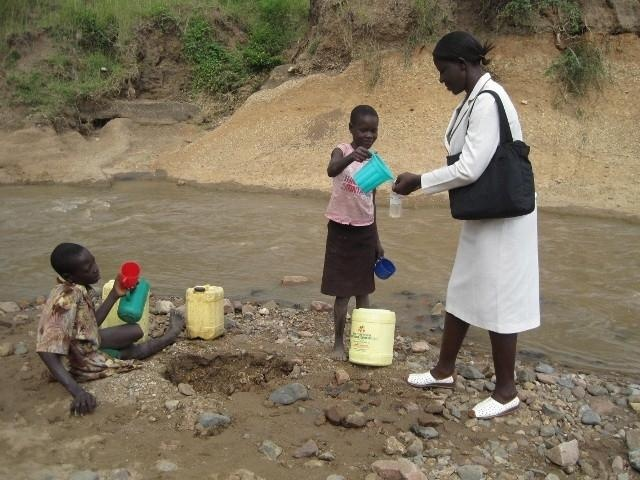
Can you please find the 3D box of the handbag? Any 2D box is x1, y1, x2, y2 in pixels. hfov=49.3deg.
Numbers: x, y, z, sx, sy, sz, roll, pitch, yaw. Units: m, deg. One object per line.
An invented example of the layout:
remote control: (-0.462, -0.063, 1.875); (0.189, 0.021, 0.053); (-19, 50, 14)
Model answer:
handbag: (1.438, -0.695, 5.834); (0.708, 1.114, 0.281); (3, 12, 14)

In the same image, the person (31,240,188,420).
person: (-2.012, 0.640, 6.476); (1.152, 1.178, 1.736); (6, 12, 35)

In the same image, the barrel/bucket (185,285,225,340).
barrel/bucket: (-1.172, 0.734, 7.025); (0.454, 0.442, 0.410); (-1, 1, -20)

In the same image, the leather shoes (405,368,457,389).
leather shoes: (1.008, 1.276, 6.372); (0.433, 0.123, 0.156); (2, -5, -2)

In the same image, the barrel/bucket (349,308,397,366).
barrel/bucket: (0.492, 0.930, 6.677); (0.495, 0.479, 0.461); (5, -5, 0)

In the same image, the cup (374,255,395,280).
cup: (0.630, 0.273, 6.921); (0.156, 0.224, 0.191); (-37, -7, 28)

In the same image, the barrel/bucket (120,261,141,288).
barrel/bucket: (-1.756, 0.304, 6.423); (0.179, 0.245, 0.241); (3, -23, -18)

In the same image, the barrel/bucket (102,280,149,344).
barrel/bucket: (-1.818, 0.681, 6.502); (0.353, 0.309, 0.593); (0, 13, -5)

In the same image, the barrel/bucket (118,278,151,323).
barrel/bucket: (-1.749, 0.568, 6.505); (0.223, 0.315, 0.338); (15, 29, 1)

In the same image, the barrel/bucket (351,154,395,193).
barrel/bucket: (0.489, -0.606, 6.345); (0.239, 0.377, 0.534); (-11, 15, -42)
